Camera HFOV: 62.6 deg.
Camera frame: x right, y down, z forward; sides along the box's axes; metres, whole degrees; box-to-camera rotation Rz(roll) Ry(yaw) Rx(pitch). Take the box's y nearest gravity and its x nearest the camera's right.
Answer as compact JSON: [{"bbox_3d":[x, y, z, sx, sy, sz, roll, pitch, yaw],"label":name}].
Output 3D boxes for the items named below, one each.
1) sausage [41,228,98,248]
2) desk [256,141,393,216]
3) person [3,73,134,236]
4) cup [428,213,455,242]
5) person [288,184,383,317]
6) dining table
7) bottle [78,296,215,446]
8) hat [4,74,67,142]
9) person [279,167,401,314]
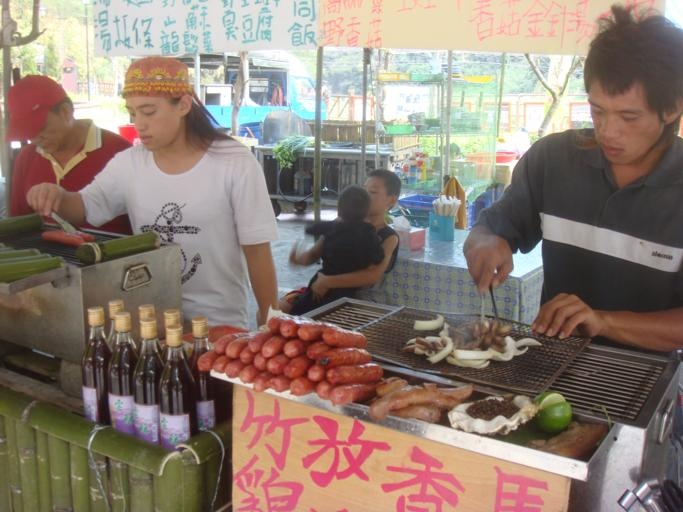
[{"bbox_3d":[-1.119,-0.075,2.299,0.200,0.053,0.111,9,13,15],"label":"sausage"},{"bbox_3d":[-0.404,-1.398,11.286,2.234,1.385,1.587,5,18,15],"label":"desk"},{"bbox_3d":[-1.661,-0.627,3.375,0.599,1.123,0.687,10,15,33],"label":"person"},{"bbox_3d":[0.893,-0.252,4.978,0.113,0.200,0.200,-12,18,-34],"label":"cup"},{"bbox_3d":[0.007,-0.101,4.358,0.589,1.065,0.569,14,20,42],"label":"person"},{"bbox_3d":[0.990,0.137,4.454,1.359,0.648,1.058,6,14,38],"label":"dining table"},{"bbox_3d":[-0.626,0.422,1.830,0.191,0.664,0.204,0,6,0],"label":"bottle"},{"bbox_3d":[-1.692,-0.802,3.130,0.264,0.226,0.384,7,53,36],"label":"hat"},{"bbox_3d":[0.038,-0.057,4.500,0.701,1.291,0.737,9,16,31],"label":"person"}]
